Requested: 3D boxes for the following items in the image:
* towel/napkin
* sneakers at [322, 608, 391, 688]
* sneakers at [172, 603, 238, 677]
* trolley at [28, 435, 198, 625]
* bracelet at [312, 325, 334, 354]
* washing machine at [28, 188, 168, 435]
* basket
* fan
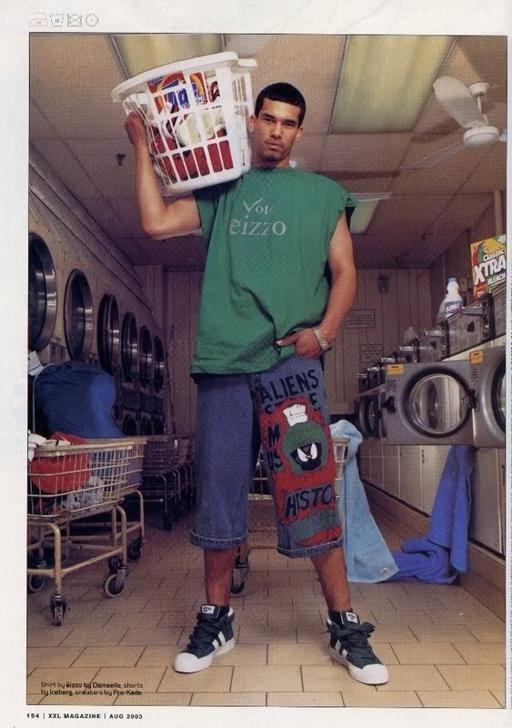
[{"bbox_3d":[0.533,0.547,2.417,0.734,0.815,0.634,-1,-6,6],"label":"towel/napkin"},{"bbox_3d":[0.270,0.755,1.422,0.085,0.128,0.227,8,-10,-24],"label":"sneakers"},{"bbox_3d":[-0.140,0.748,1.475,0.075,0.143,0.238,-6,-9,30],"label":"sneakers"},{"bbox_3d":[-0.730,0.602,2.245,0.514,0.666,0.936,0,-3,3],"label":"trolley"},{"bbox_3d":[0.184,-0.072,1.546,0.062,0.061,0.064,-26,28,-5],"label":"bracelet"},{"bbox_3d":[-1.020,-0.367,3.352,0.398,1.233,1.284,-3,-19,7],"label":"washing machine"},{"bbox_3d":[-0.147,-0.618,1.456,0.393,0.291,0.348,-24,-2,17],"label":"basket"},{"bbox_3d":[0.661,-0.788,1.750,0.272,0.272,0.092,-8,-8,39],"label":"fan"}]
